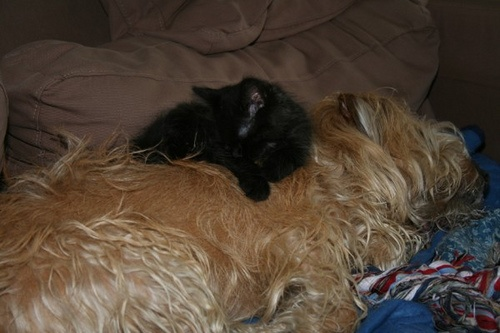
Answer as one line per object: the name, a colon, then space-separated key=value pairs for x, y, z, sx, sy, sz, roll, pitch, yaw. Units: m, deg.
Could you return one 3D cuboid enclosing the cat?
cat: x=-0.065 y=-0.068 z=1.384 sx=0.365 sy=0.184 sz=0.366 roll=-15 pitch=66 yaw=-14
